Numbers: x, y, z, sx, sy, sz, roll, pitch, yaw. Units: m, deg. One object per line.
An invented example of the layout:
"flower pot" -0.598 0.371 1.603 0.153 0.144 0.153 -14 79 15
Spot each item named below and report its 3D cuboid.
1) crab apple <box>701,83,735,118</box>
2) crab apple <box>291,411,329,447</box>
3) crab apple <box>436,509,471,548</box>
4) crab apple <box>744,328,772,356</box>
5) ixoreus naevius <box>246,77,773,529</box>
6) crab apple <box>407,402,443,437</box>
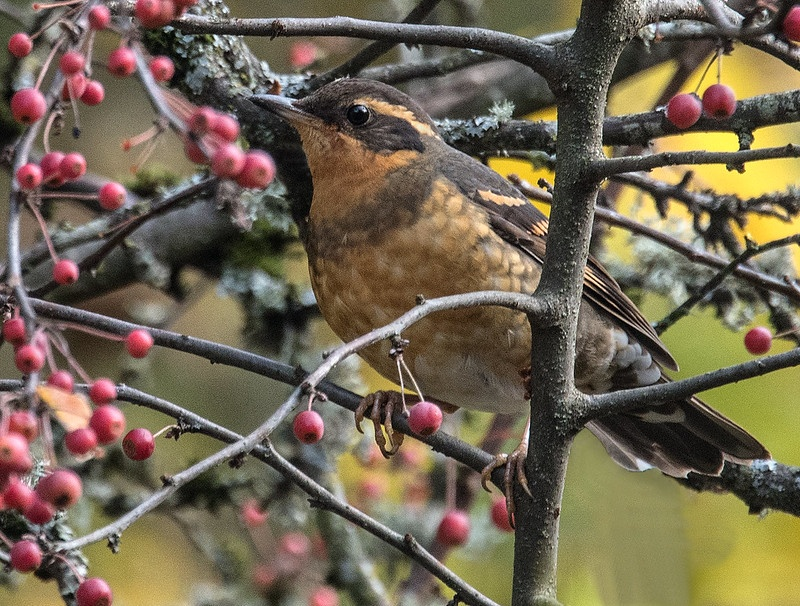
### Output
"crab apple" 0.884 -0.556 3.207 0.087 0.109 0.093 -13 -50 21
"crab apple" -0.240 0.323 3.033 0.089 0.088 0.131 5 -81 -3
"crab apple" 0.210 0.862 4.400 0.127 0.132 0.157 2 -90 4
"crab apple" 1.156 0.129 3.727 0.083 0.086 0.103 -2 -88 6
"ixoreus naevius" 0.271 -0.140 4.151 1.259 1.881 1.884 0 -90 42
"crab apple" 0.065 0.309 3.032 0.085 0.087 0.090 1 -90 0
